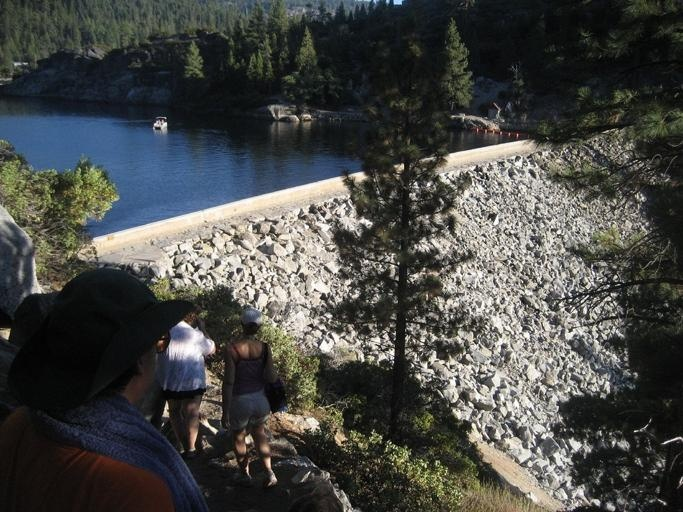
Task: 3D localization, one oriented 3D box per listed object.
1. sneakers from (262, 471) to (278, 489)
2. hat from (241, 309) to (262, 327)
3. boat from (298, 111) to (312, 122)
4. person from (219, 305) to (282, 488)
[{"bbox_3d":[-1.312,4.162,13.274,0.282,0.259,0.207,-6,20,-19],"label":"sneakers"},{"bbox_3d":[-1.697,1.155,13.391,0.347,0.340,0.374,2,20,1],"label":"hat"},{"bbox_3d":[-4.474,-17.863,91.392,1.756,0.921,1.921,0,21,-5],"label":"boat"},{"bbox_3d":[-1.734,2.645,13.326,1.015,3.078,1.112,-1,18,-7],"label":"person"}]
